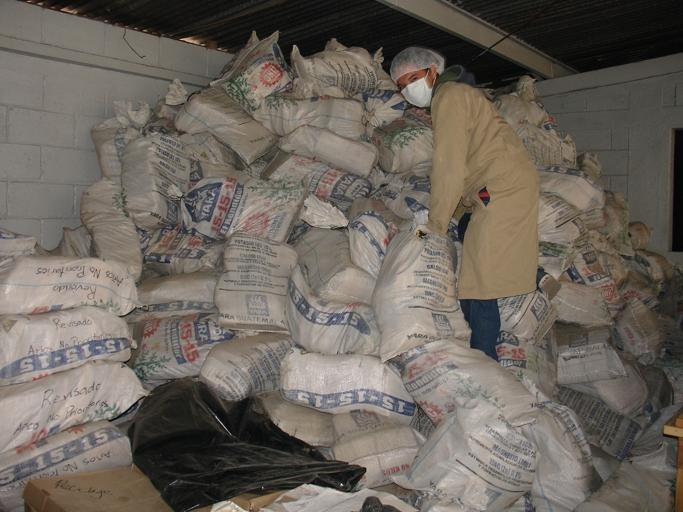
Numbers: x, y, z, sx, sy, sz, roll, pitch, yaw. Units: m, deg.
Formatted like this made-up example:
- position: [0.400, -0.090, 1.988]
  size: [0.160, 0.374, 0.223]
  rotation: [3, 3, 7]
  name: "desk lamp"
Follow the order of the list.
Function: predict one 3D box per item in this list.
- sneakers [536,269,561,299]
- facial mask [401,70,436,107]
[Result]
- position: [1.110, 0.148, 3.331]
  size: [0.137, 0.084, 0.075]
  rotation: [47, 15, 13]
  name: "sneakers"
- position: [0.367, -0.828, 3.129]
  size: [0.208, 0.151, 0.240]
  rotation: [-7, 12, 16]
  name: "facial mask"
